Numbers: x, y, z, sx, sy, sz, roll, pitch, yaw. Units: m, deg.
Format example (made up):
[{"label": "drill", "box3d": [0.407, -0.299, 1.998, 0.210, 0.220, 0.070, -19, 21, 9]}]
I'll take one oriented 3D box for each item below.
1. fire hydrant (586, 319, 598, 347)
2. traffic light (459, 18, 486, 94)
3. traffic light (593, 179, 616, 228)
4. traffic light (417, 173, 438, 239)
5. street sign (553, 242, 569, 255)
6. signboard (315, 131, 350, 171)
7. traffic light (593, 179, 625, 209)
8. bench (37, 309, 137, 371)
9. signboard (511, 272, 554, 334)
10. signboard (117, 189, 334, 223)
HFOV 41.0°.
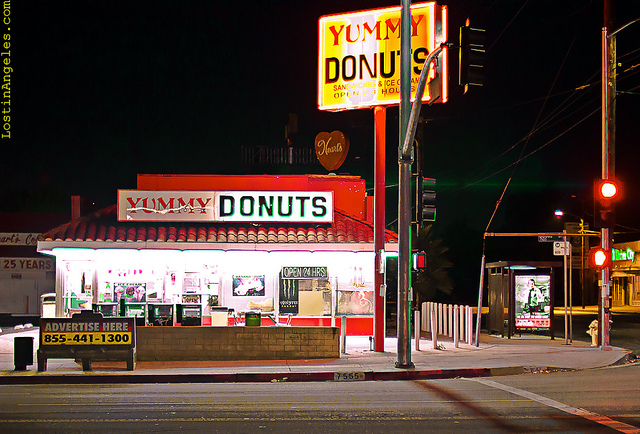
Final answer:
[{"label": "fire hydrant", "box3d": [10.819, 4.624, 33.864, 0.355, 1.046, 1.576, -3, -9, 16]}, {"label": "traffic light", "box3d": [4.527, -4.638, 25.276, 0.756, 1.992, 0.502, 5, 31, 14]}, {"label": "traffic light", "box3d": [10.576, -0.486, 31.765, 0.774, 1.768, 0.669, -3, -8, 18]}, {"label": "traffic light", "box3d": [3.742, -0.338, 30.119, 0.668, 2.266, 0.505, -4, -17, 13]}, {"label": "street sign", "box3d": [9.765, 1.304, 34.535, 0.493, 0.444, 0.169, 2, 2, 18]}, {"label": "signboard", "box3d": [0.568, -3.037, 39.538, 0.374, 1.817, 2.423, 4, -10, -31]}, {"label": "traffic light", "box3d": [10.731, -0.818, 31.858, 1.010, 1.088, 0.788, -1, -8, 1]}, {"label": "bench", "box3d": [-7.677, 4.092, 28.298, 3.064, 1.974, 1.595, 2, -6, -18]}, {"label": "signboard", "box3d": [9.001, 3.899, 36.232, 1.414, 2.939, 1.312, 1, 1, 4]}, {"label": "signboard", "box3d": [-3.551, -0.445, 35.722, 8.841, 1.895, 0.127, 0, -37, -10]}]
